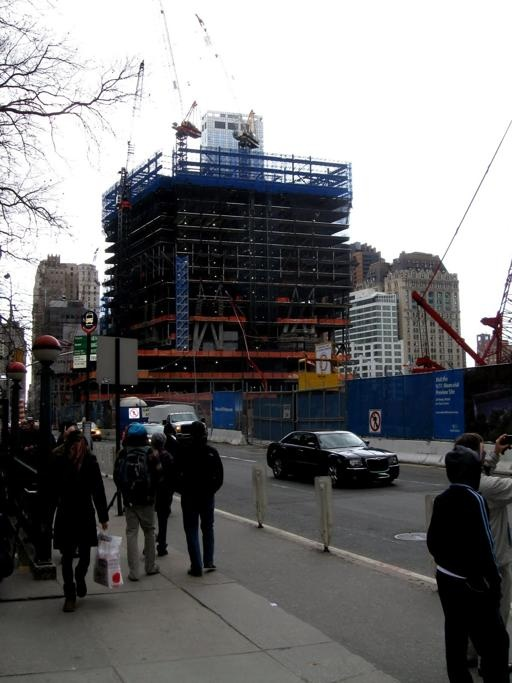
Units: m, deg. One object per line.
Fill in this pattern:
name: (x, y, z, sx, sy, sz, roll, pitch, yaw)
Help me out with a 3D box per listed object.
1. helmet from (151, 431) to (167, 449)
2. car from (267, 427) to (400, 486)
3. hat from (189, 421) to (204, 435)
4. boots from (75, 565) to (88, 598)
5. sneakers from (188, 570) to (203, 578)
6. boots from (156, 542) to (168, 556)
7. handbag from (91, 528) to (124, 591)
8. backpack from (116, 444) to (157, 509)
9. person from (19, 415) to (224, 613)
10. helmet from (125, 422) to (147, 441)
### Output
helmet: (-1.238, 1.246, 10.246, 0.142, 0.214, 0.203, 2, 0, -5)
car: (1.825, 2.772, 19.679, 1.360, 1.220, 3.685, 6, -15, -24)
hat: (-0.641, 0.933, 8.914, 0.146, 0.164, 0.044, -9, -2, 38)
boots: (-1.653, 2.234, 7.575, 0.096, 0.330, 0.183, 1, -3, -15)
sneakers: (-0.660, 2.507, 8.706, 0.057, 0.075, 0.163, 6, -14, -24)
boots: (-1.175, 2.607, 10.083, 0.136, 0.154, 0.090, -1, -2, 20)
handbag: (-1.423, 2.049, 7.628, 0.221, 0.516, 0.453, 3, -4, -45)
backpack: (-1.296, 1.431, 8.741, 0.430, 0.687, 0.373, -1, 4, -13)
person: (-1.442, 1.677, 8.208, 1.061, 1.657, 2.110, -1, -4, 24)
helmet: (-1.297, 0.971, 8.753, 0.137, 0.163, 0.218, 0, -14, 2)
